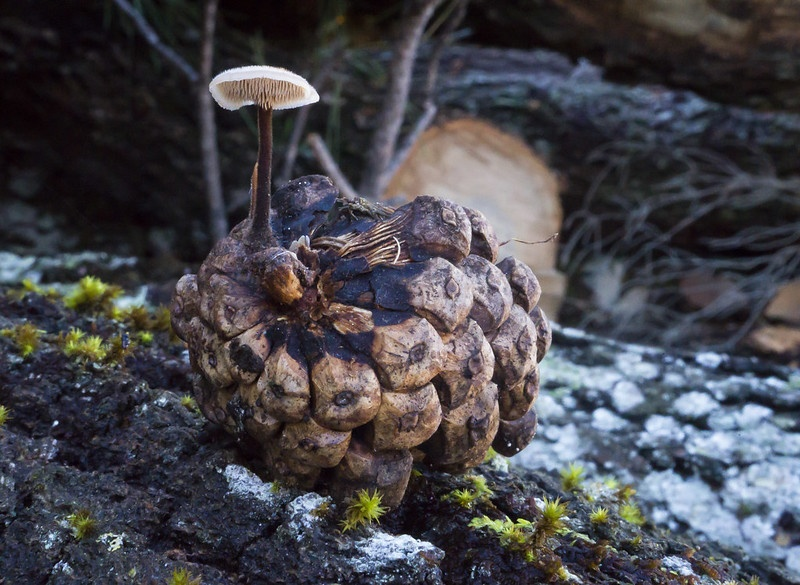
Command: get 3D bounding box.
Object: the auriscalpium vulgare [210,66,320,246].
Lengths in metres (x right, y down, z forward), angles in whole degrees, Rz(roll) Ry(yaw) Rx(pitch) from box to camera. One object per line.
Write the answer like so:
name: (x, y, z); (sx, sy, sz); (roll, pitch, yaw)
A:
auriscalpium vulgare: (-0.624, -0.659, 4.463); (0.467, 0.753, 0.496); (-10, 17, -10)
